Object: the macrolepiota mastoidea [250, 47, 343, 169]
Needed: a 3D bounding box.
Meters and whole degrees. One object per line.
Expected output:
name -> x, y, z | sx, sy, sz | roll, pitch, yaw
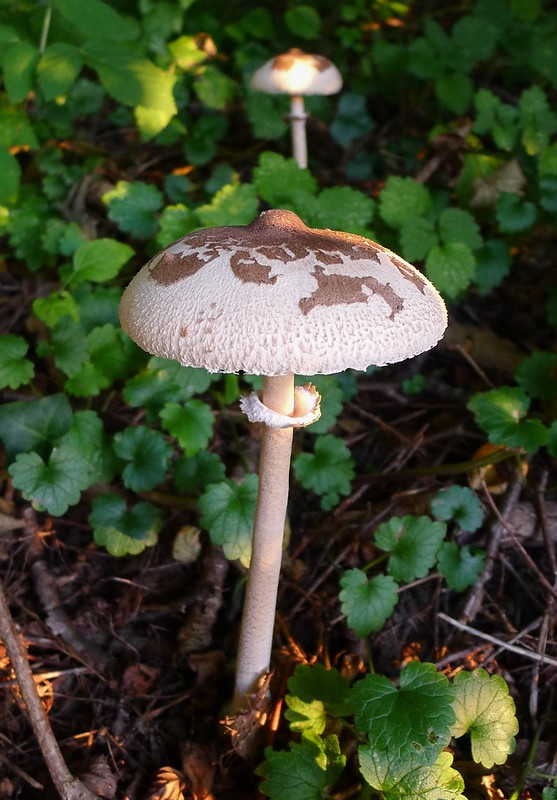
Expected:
macrolepiota mastoidea -> 0.078, -1.505, 4.037 | 0.472, 0.624, 0.289 | -12, 45, -15
